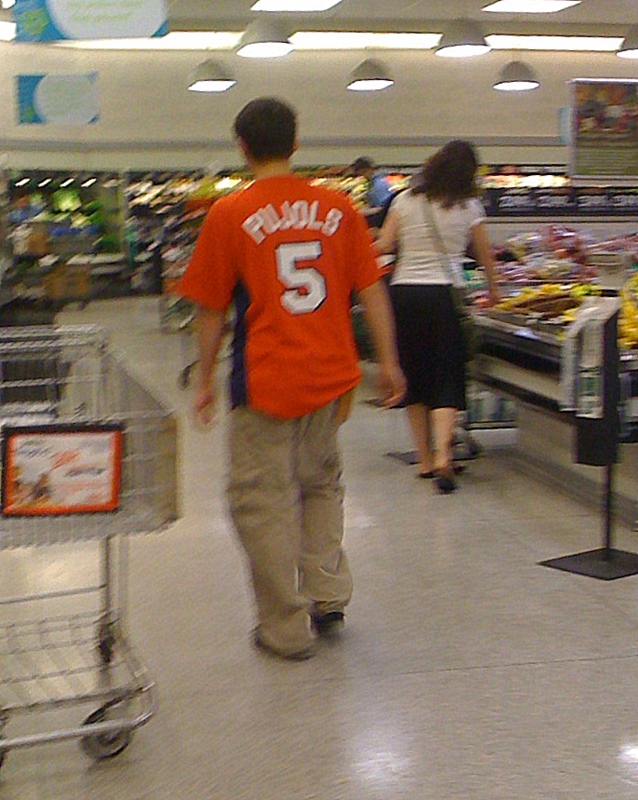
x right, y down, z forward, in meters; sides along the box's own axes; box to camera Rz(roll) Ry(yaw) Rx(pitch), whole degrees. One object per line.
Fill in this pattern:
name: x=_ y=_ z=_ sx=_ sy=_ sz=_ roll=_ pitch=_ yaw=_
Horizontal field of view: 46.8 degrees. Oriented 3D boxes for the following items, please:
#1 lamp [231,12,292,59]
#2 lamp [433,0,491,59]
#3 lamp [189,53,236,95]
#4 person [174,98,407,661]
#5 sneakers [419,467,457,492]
lamp: x=-0.599 y=-3.929 z=8.002 sx=0.593 sy=0.330 sz=0.677 roll=-1 pitch=4 yaw=-6
lamp: x=1.600 y=-4.131 z=8.244 sx=0.605 sy=0.549 sz=0.657 roll=0 pitch=4 yaw=8
lamp: x=-1.362 y=-4.023 z=9.247 sx=0.656 sy=0.392 sz=0.815 roll=-7 pitch=17 yaw=-14
person: x=-0.083 y=-0.028 z=1.963 sx=0.394 sy=1.510 sz=0.542 roll=2 pitch=4 yaw=34
sneakers: x=0.633 y=0.407 z=3.905 sx=0.082 sy=0.093 sz=0.246 roll=1 pitch=8 yaw=-19
